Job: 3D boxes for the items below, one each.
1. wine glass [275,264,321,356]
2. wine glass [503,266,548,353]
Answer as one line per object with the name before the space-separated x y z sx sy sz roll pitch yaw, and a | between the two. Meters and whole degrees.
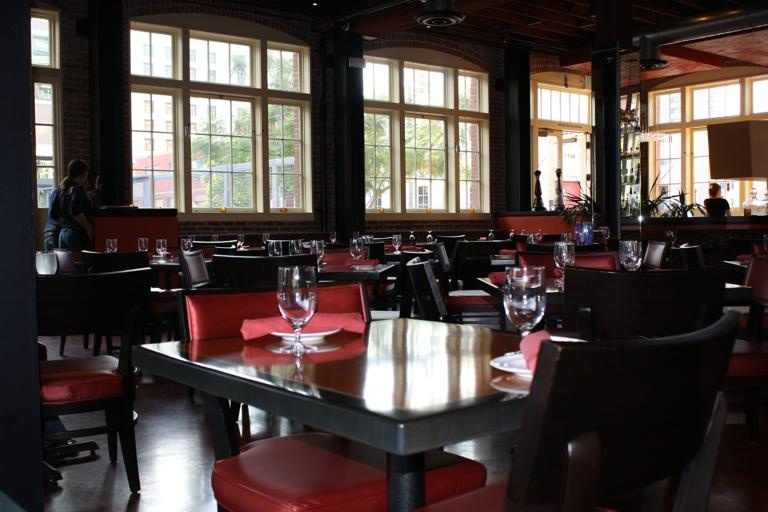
wine glass | -0.242 0.142 1.685 0.109 0.232 0.122 -9 8 -40
wine glass | 0.366 0.135 1.618 0.103 0.214 0.244 -2 7 21
